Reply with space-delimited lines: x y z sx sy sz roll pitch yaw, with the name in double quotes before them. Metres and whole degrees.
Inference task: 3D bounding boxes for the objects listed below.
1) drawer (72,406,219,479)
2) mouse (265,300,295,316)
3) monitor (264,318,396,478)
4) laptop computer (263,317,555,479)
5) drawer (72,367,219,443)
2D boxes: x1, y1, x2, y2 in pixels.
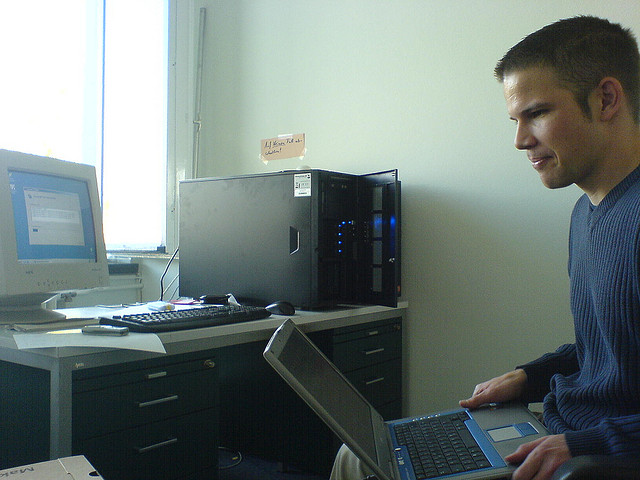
"drawer" -0.506 0.572 1.519 0.212 0.139 0.294 -7 -7 40
"mouse" -0.144 0.251 1.973 0.087 0.034 0.049 2 -2 32
"monitor" 0.038 0.374 1.305 0.262 0.339 0.349 -4 6 7
"laptop computer" 0.190 0.322 1.310 0.450 0.282 0.450 -15 4 -5
"drawer" -0.519 0.476 1.549 0.258 0.065 0.235 2 -5 -43
